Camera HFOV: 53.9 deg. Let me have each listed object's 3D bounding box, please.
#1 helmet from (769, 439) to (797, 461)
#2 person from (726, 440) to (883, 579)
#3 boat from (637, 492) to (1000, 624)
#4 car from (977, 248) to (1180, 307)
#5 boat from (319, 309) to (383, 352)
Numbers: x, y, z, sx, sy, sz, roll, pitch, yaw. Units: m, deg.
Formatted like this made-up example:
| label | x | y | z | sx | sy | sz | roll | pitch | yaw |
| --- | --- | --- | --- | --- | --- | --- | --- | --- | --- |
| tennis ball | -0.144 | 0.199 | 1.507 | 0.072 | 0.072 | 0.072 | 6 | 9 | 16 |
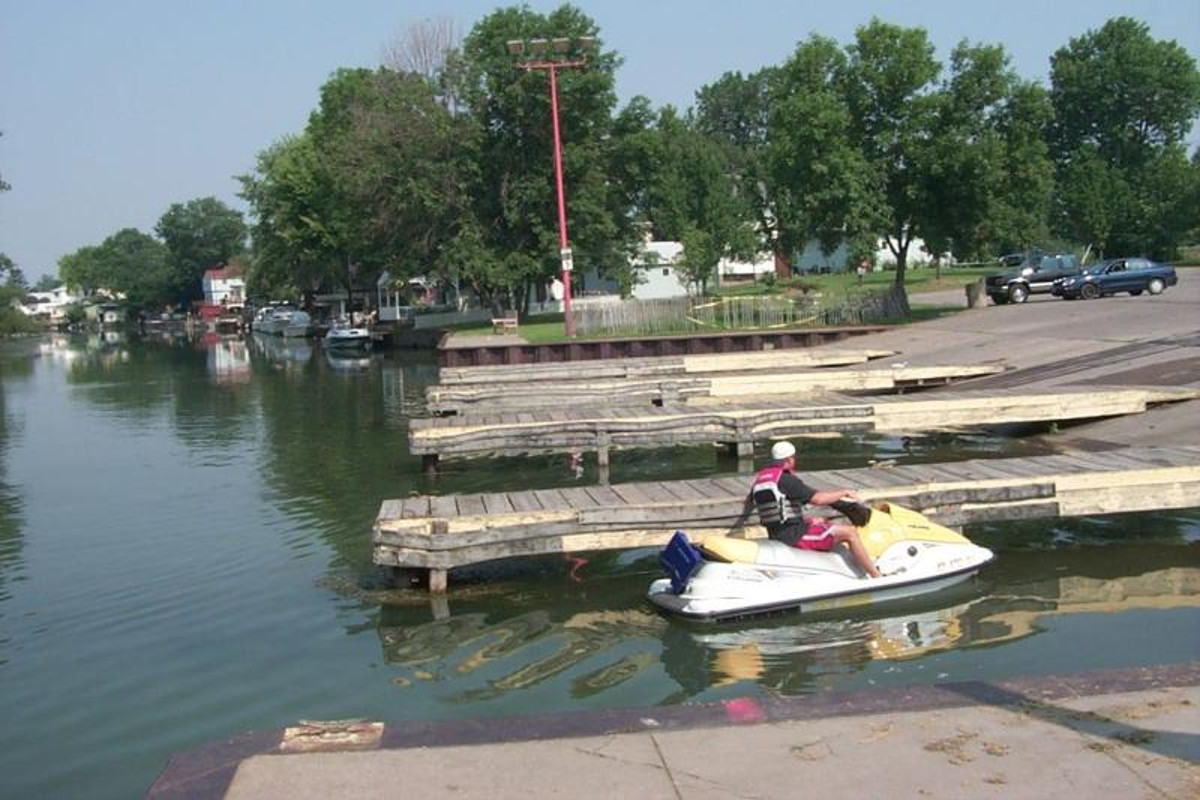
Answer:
| label | x | y | z | sx | sy | sz | roll | pitch | yaw |
| --- | --- | --- | --- | --- | --- | --- | --- | --- | --- |
| helmet | 2.672 | 0.708 | 16.910 | 0.428 | 0.308 | 0.537 | -5 | -1 | 4 |
| person | 3.120 | 1.705 | 18.101 | 1.127 | 1.243 | 1.832 | -16 | 19 | -33 |
| boat | 3.314 | 2.257 | 17.556 | 5.238 | 1.259 | 1.683 | -4 | 6 | -10 |
| car | 17.969 | -4.686 | 44.315 | 6.306 | 1.763 | 2.265 | -2 | 6 | 15 |
| boat | -14.287 | -4.266 | 68.398 | 3.479 | 2.382 | 6.614 | -3 | 1 | -21 |
